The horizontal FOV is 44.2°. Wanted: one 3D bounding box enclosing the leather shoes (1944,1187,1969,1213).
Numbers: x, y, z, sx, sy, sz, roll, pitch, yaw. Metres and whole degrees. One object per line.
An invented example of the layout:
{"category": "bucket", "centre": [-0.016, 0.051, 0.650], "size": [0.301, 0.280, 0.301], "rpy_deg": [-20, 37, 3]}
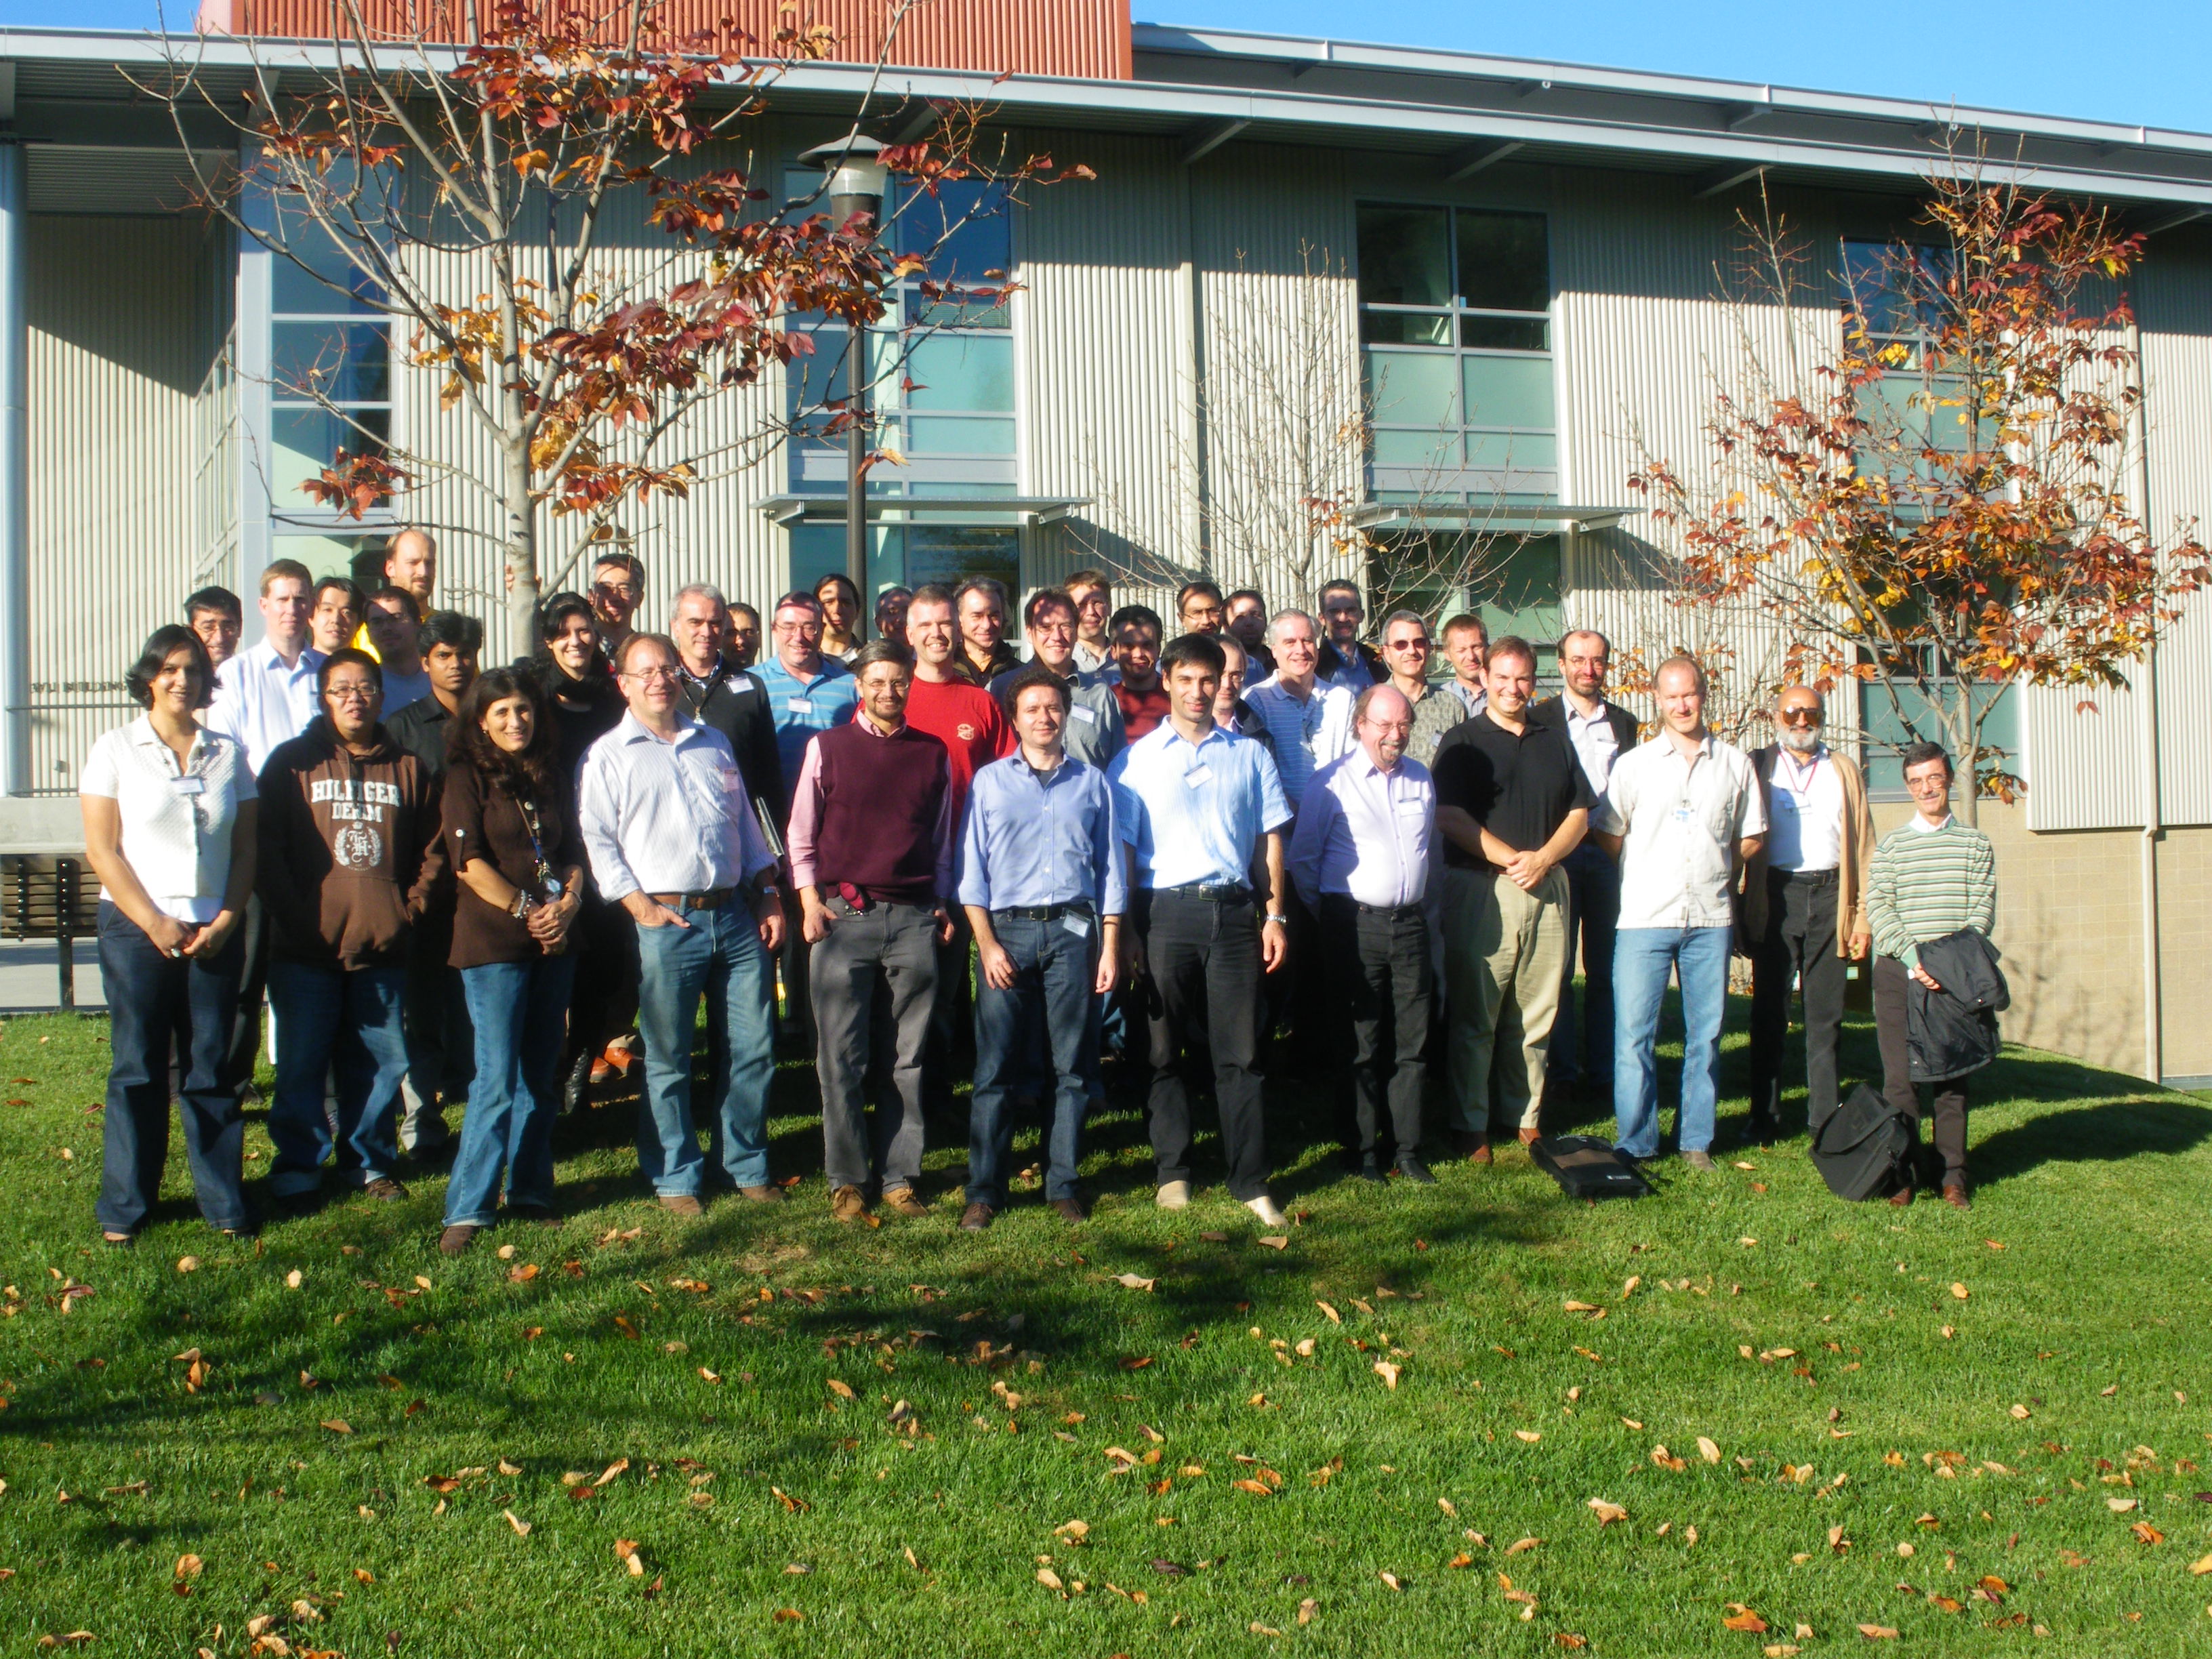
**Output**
{"category": "leather shoes", "centre": [5.061, 2.208, 16.221], "size": [0.087, 0.135, 0.124], "rpy_deg": [-2, -4, 11]}

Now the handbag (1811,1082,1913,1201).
{"category": "handbag", "centre": [4.502, 1.899, 16.166], "size": [0.268, 0.686, 0.493], "rpy_deg": [26, -27, -35]}
